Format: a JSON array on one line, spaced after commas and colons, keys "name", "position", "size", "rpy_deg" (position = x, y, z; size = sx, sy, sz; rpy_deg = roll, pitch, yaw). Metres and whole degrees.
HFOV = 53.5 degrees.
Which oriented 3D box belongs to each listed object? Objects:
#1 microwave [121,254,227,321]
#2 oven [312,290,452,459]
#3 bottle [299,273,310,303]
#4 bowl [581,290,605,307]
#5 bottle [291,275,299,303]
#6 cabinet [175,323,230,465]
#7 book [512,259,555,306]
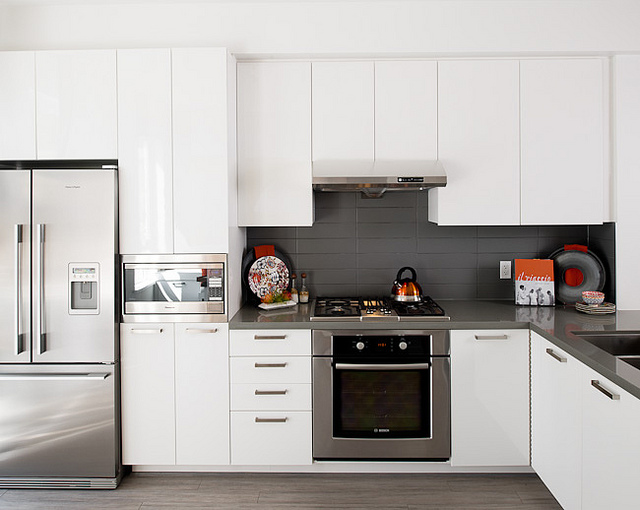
[{"name": "microwave", "position": [-0.906, 0.212, 4.125], "size": [0.657, 0.422, 0.352], "rpy_deg": [0, -1, 2]}, {"name": "oven", "position": [0.390, 0.798, 4.272], "size": [0.789, 1.050, 0.713], "rpy_deg": [-1, 14, 2]}, {"name": "bottle", "position": [-0.112, 0.231, 4.518], "size": [0.067, 0.202, 0.113], "rpy_deg": [-1, 4, 7]}, {"name": "bowl", "position": [1.768, 0.282, 4.132], "size": [0.107, 0.073, 0.108], "rpy_deg": [0, 0, 0]}, {"name": "bottle", "position": [-0.183, 0.236, 4.488], "size": [0.047, 0.190, 0.146], "rpy_deg": [-2, 4, -1]}, {"name": "cabinet", "position": [-0.733, 0.903, 4.216], "size": [0.490, 0.784, 0.484], "rpy_deg": [0, 0, 1]}, {"name": "book", "position": [1.484, 0.160, 4.396], "size": [0.257, 0.349, 0.185], "rpy_deg": [0, 18, 19]}]
